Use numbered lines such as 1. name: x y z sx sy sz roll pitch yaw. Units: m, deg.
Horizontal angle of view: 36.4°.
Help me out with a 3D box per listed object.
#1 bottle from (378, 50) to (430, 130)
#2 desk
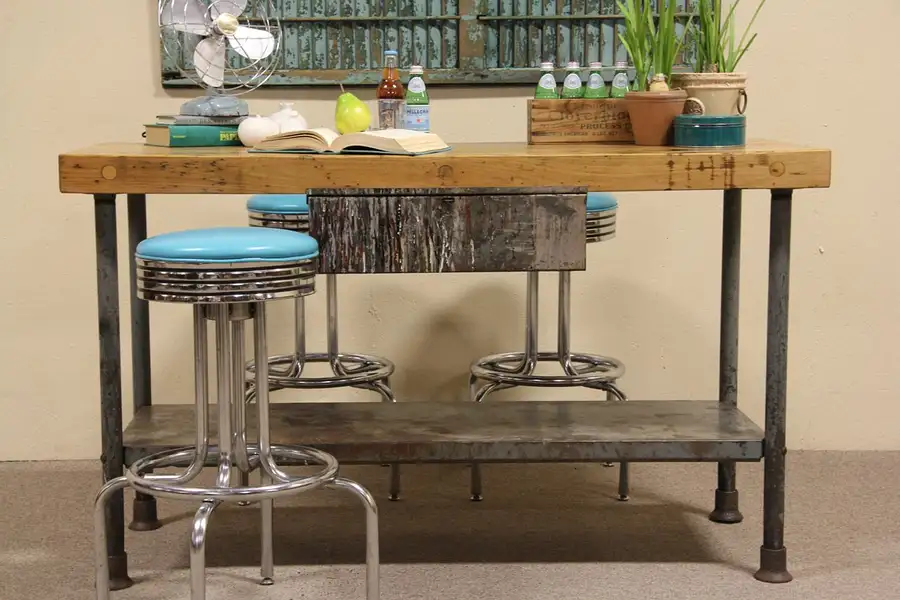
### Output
1. bottle: -0.188 -0.817 5.331 0.189 0.301 0.300 -3 14 -3
2. desk: -0.013 0.119 5.269 2.727 1.225 0.754 -1 -1 -5
